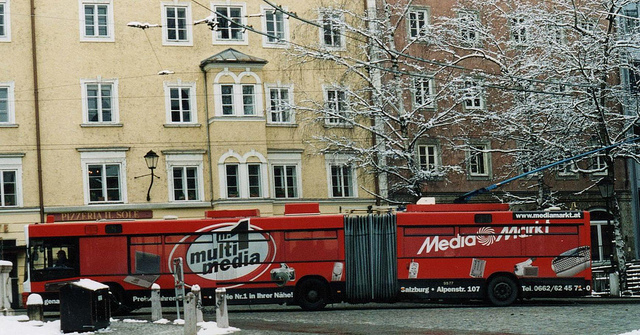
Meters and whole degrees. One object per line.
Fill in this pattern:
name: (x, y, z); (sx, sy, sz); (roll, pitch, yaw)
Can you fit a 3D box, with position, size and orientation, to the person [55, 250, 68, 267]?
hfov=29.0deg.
person: (-14.071, 5.106, 68.457); (0.855, 1.020, 1.013); (1, -4, 1)
